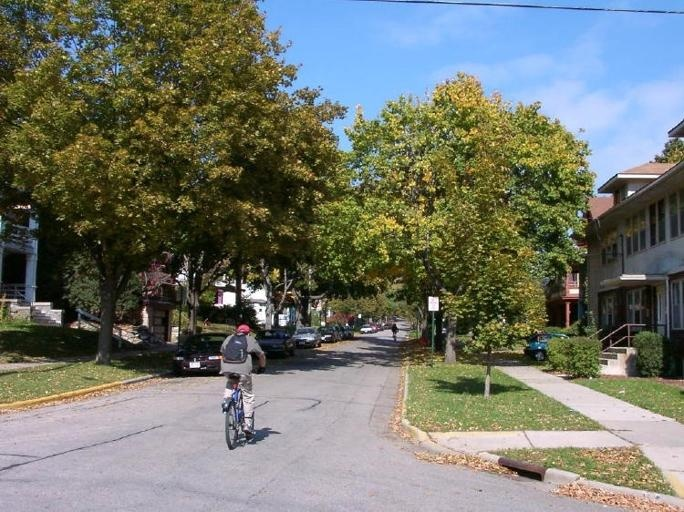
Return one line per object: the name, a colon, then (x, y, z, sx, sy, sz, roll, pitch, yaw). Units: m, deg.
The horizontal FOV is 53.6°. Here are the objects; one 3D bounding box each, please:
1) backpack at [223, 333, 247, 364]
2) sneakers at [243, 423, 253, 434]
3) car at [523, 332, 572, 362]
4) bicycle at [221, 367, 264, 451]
backpack: (-2.253, 1.968, 14.310, 0.578, 0.693, 0.397, 1, -25, 4)
sneakers: (-1.955, 3.564, 14.163, 0.108, 0.212, 0.300, -3, -11, 24)
car: (10.837, 4.572, 34.284, 2.904, 1.288, 1.647, -5, 4, -7)
bicycle: (-2.183, 3.189, 14.068, 0.534, 1.472, 1.464, 0, -10, 9)
